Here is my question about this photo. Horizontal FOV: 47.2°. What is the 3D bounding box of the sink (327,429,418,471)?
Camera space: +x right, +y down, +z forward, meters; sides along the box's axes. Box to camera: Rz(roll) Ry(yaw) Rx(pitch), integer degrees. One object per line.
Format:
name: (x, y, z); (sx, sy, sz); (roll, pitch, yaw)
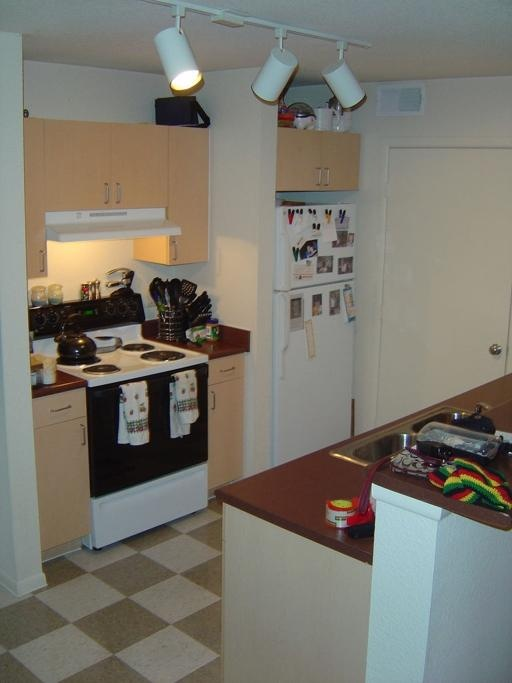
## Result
sink: (0.427, 0.414, 2.202); (0.185, 0.090, 0.436); (8, 12, 35)

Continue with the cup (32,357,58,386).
cup: (-1.013, 0.133, 2.827); (0.128, 0.099, 0.127); (2, 14, -1)

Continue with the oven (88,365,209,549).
oven: (-0.720, 0.541, 3.344); (0.712, 0.910, 0.658); (-11, 20, -37)

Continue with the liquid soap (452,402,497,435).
liquid soap: (0.692, 0.241, 1.858); (0.094, 0.091, 0.049); (5, -8, 42)

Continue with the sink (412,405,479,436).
sink: (0.625, 0.257, 1.931); (0.225, 0.078, 0.155); (-8, 11, -37)

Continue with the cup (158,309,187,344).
cup: (-0.530, -0.101, 3.679); (0.231, 0.261, 0.196); (1, 5, 8)

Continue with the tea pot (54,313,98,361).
tea pot: (-1.006, -0.027, 3.235); (0.271, 0.261, 0.214); (0, 9, -15)

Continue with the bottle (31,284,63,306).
bottle: (-1.167, -0.260, 3.276); (0.089, 0.110, 0.231); (8, 12, 35)

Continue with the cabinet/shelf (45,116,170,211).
cabinet/shelf: (-0.796, -0.926, 3.070); (0.217, 0.332, 0.564); (14, 20, 40)

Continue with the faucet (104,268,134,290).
faucet: (-0.846, -0.385, 3.627); (0.180, 0.158, 0.097); (0, 5, -31)

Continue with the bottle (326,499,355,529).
bottle: (0.228, 0.456, 1.568); (0.063, 0.045, 0.062); (0, 4, 0)

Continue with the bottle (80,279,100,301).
bottle: (-0.998, -0.305, 3.490); (0.042, 0.108, 0.124); (5, 11, 35)
